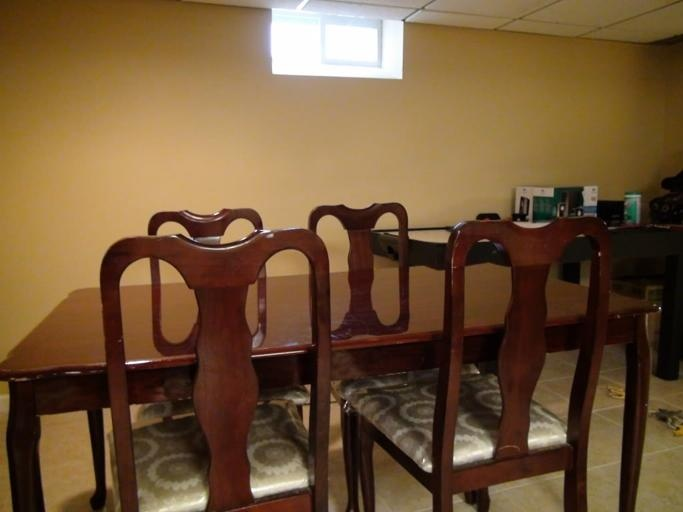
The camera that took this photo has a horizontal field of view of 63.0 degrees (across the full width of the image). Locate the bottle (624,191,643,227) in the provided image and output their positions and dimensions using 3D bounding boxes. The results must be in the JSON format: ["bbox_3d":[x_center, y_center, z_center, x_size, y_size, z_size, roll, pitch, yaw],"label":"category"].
[{"bbox_3d":[2.127,-0.353,4.070,0.110,0.211,0.215,3,11,26],"label":"bottle"}]
